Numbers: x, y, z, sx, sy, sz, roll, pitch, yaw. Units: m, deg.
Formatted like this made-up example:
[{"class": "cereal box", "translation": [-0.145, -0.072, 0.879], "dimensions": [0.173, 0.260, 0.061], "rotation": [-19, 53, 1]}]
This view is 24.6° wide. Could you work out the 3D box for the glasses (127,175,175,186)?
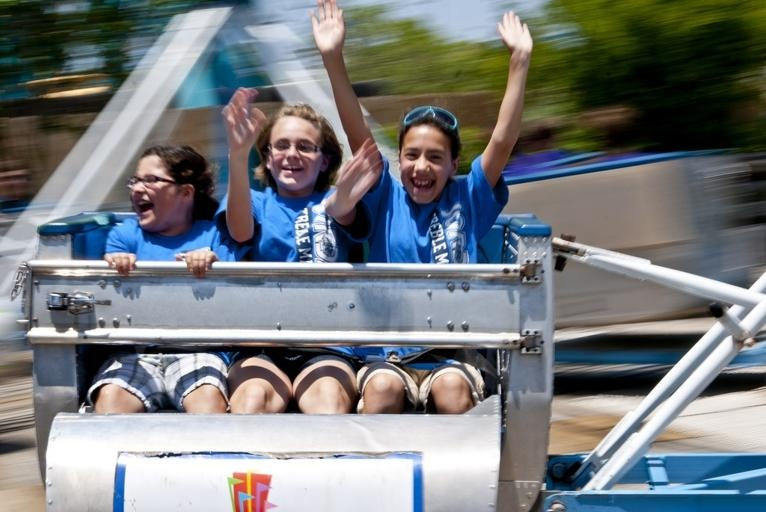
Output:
[{"class": "glasses", "translation": [-1.589, -0.527, 12.028], "dimensions": [0.135, 0.041, 0.142], "rotation": [-7, -11, 40]}]
